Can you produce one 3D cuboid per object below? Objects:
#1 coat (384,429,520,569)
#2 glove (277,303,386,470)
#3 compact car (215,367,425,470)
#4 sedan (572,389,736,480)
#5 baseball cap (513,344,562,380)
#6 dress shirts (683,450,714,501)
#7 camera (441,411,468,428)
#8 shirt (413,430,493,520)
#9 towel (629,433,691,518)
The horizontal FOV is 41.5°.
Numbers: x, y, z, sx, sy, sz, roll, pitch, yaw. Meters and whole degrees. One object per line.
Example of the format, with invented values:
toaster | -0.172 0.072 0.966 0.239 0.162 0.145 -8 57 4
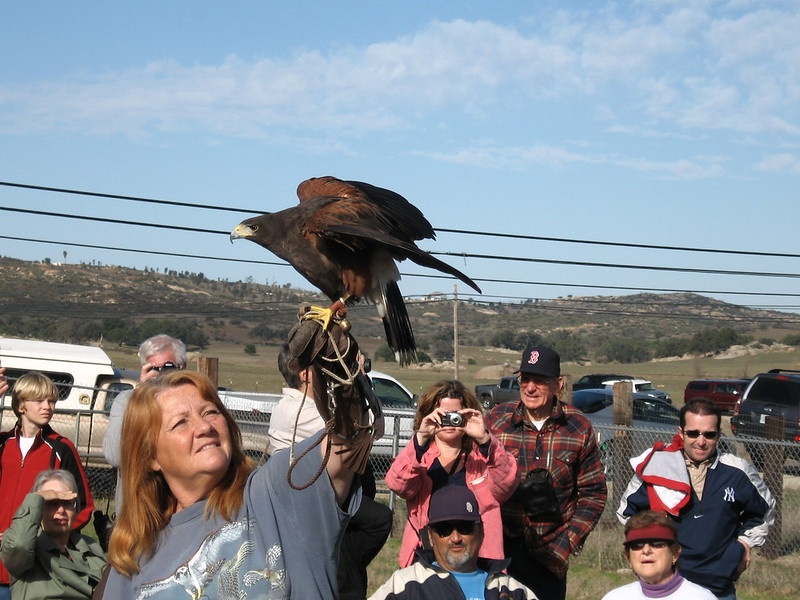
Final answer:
coat | 0.347 1.385 7.184 0.757 1.040 0.598 2 -11 -5
glove | -0.367 0.375 5.697 0.416 0.973 0.368 -29 -41 20
compact car | -1.009 1.749 13.675 2.665 1.416 1.574 0 1 0
sedan | 3.407 1.875 16.596 2.997 1.141 1.345 0 1 -33
baseball cap | 1.012 0.455 7.635 0.285 0.233 0.258 2 0 7
dress shirts | 2.070 1.224 7.414 0.165 0.298 0.282 1 -13 1
camera | 0.351 0.789 7.092 0.142 0.097 0.099 0 -3 3
shirt | 0.278 1.168 7.244 0.532 0.603 0.496 13 6 10
towel | 1.847 1.229 7.368 0.449 0.471 0.168 -10 -22 12
